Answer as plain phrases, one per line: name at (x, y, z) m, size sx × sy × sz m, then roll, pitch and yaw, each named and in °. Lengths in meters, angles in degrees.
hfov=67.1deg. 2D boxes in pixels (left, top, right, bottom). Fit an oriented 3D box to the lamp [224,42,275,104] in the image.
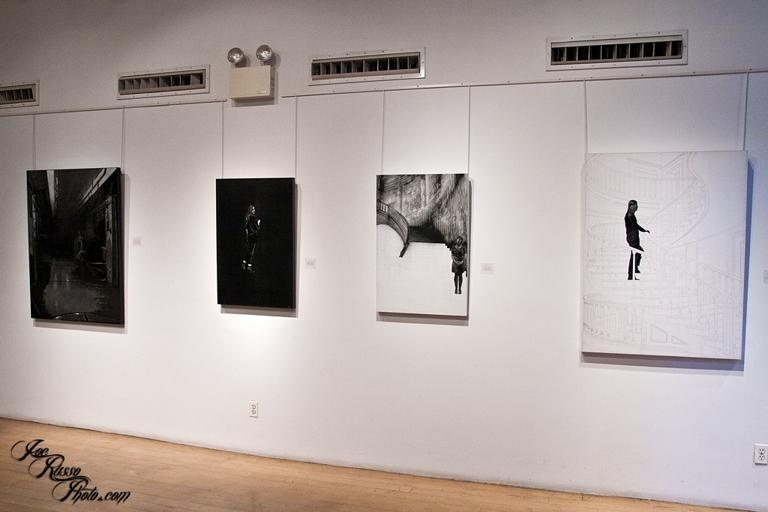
lamp at (-1.569, -2.196, 6.960) m, size 0.574 × 0.644 × 0.187 m, roll -1°, pitch -9°, yaw 12°
